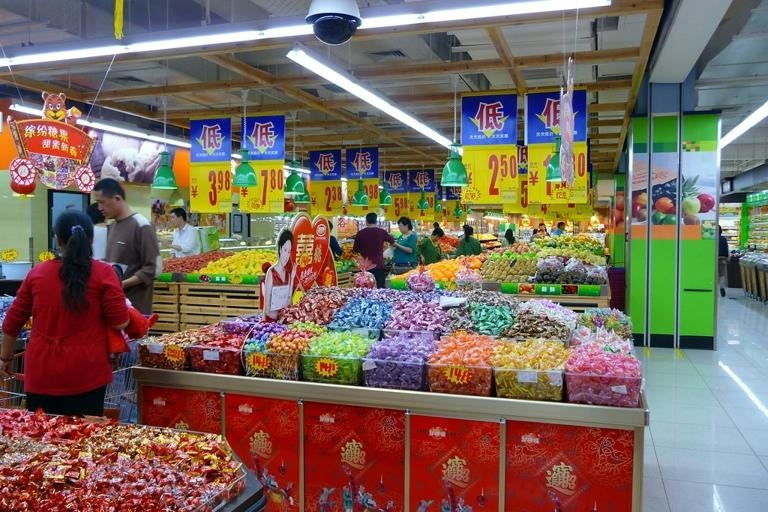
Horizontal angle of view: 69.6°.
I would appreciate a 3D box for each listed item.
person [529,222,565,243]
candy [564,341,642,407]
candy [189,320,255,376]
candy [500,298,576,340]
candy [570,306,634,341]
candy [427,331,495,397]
[{"bbox_3d":[5.547,-0.844,18.747,0.968,0.978,0.391,0,-37,29],"label":"person"},{"bbox_3d":[1.545,0.865,3.897,0.510,0.285,0.367,5,12,19],"label":"candy"},{"bbox_3d":[-1.318,0.737,4.518,0.329,0.132,0.444,2,9,0],"label":"candy"},{"bbox_3d":[1.375,0.551,4.681,0.371,0.136,0.429,3,8,23],"label":"candy"},{"bbox_3d":[1.993,0.576,4.936,0.355,0.207,0.374,1,8,6],"label":"candy"},{"bbox_3d":[0.570,0.810,4.067,0.369,0.199,0.551,0,1,13],"label":"candy"}]
